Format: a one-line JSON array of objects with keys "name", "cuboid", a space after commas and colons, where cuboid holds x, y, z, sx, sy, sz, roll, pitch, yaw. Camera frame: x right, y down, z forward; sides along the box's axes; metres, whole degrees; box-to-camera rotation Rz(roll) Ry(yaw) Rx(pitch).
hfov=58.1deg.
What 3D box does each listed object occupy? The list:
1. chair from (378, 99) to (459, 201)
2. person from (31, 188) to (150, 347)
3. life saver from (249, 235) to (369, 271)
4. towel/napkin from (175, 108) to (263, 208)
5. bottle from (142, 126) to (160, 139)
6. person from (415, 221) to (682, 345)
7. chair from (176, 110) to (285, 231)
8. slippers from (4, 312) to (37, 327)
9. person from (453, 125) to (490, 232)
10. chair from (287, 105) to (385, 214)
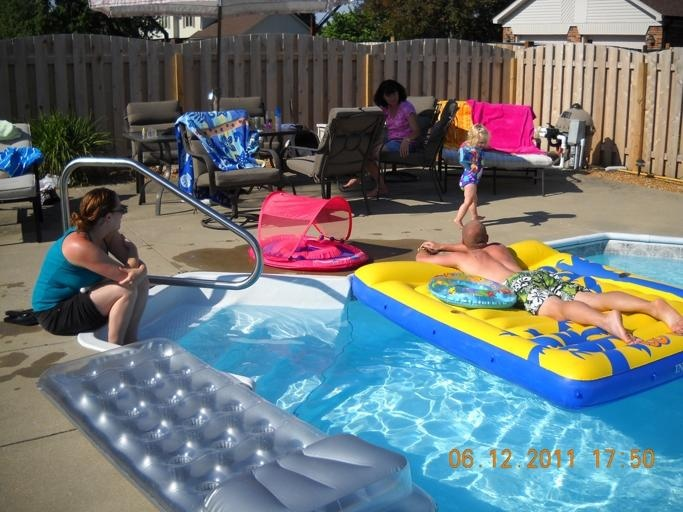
[{"name": "chair", "cuboid": [1.146, -1.544, 9.153, 1.204, 1.334, 0.808, 5, -3, 17]}, {"name": "person", "cuboid": [-1.792, 0.088, 4.331, 0.743, 1.096, 0.525, -8, 14, -29]}, {"name": "life saver", "cuboid": [-0.307, -0.060, 6.137, 1.162, 0.280, 0.718, -1, 13, 3]}, {"name": "towel/napkin", "cuboid": [-1.375, -1.127, 7.648, 1.234, 1.257, 1.212, -4, 13, -16]}, {"name": "bottle", "cuboid": [-2.646, -1.659, 8.404, 0.279, 0.152, 0.365, -1, 4, -8]}, {"name": "person", "cuboid": [1.576, 0.100, 4.940, 0.822, 0.484, 1.574, -6, 16, -41]}, {"name": "chair", "cuboid": [-1.408, -1.103, 7.650, 1.275, 1.393, 1.320, 1, 10, 13]}, {"name": "slippers", "cuboid": [-2.433, 0.464, 4.634, 0.170, 0.066, 0.148, 0, 2, 24]}, {"name": "person", "cuboid": [1.556, -0.949, 7.247, 0.368, 1.138, 1.935, 1, 13, 11]}, {"name": "chair", "cuboid": [-0.157, -1.248, 7.942, 0.962, 1.388, 1.318, -14, 22, -41]}]
